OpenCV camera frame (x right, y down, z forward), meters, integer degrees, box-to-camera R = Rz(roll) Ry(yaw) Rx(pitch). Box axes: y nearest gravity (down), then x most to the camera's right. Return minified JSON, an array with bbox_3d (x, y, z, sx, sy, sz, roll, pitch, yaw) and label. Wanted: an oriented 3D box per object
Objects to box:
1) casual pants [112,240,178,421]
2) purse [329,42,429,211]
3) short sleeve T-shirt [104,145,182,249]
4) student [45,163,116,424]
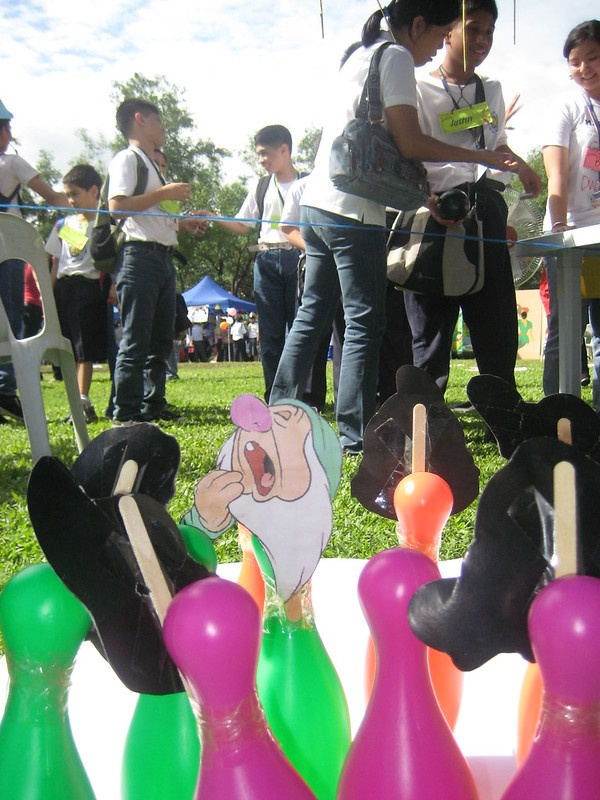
[{"bbox_3d":[-0.671,-0.288,2.850,0.211,0.777,0.322,1,1,20],"label":"casual pants"},{"bbox_3d":[0.224,-0.718,1.689,0.311,0.399,0.103,-4,10,-35],"label":"purse"},{"bbox_3d":[-0.644,-0.862,2.709,0.336,0.414,0.235,-3,10,-30],"label":"short sleeve T-shirt"},{"bbox_3d":[-1.246,-0.585,3.667,0.411,1.396,0.285,2,7,2],"label":"student"}]
